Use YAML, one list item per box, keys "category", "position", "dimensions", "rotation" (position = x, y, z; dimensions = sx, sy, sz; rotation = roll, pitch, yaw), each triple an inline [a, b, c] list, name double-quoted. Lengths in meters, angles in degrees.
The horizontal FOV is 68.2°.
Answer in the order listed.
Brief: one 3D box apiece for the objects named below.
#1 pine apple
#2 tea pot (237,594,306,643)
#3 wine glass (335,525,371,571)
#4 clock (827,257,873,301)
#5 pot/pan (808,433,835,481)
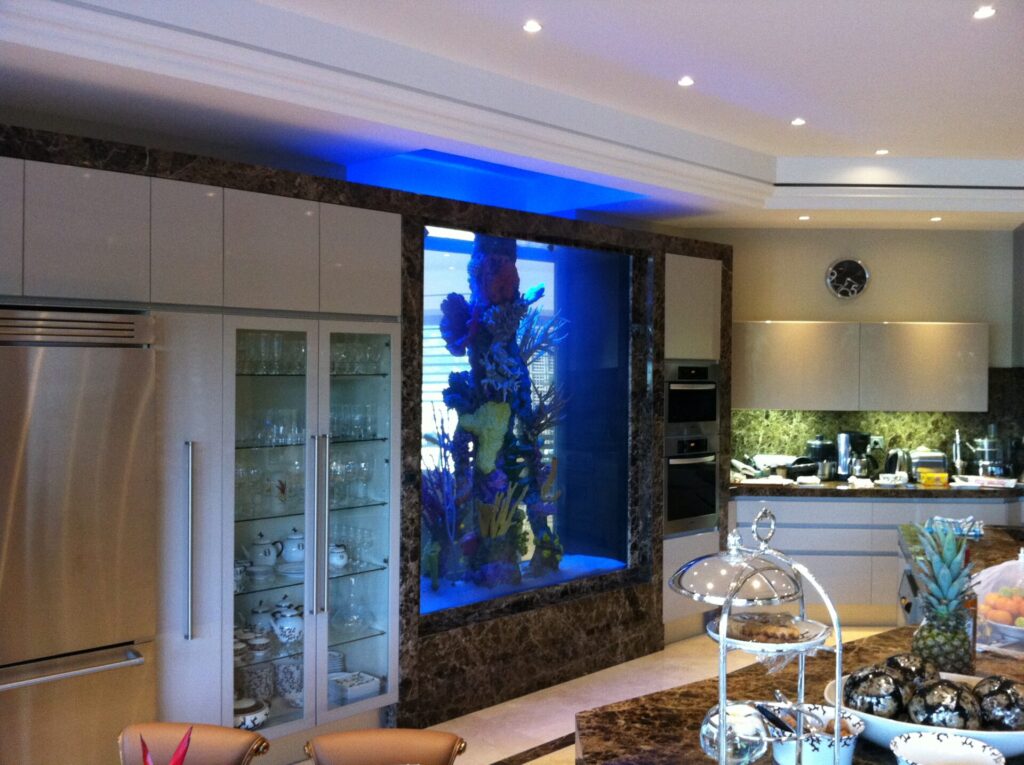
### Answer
- category: "pine apple"
  position: [1.615, 0.790, 2.859]
  dimensions: [0.242, 0.592, 0.272]
  rotation: [3, 3, 18]
- category: "tea pot"
  position: [-1.290, 1.245, 4.024]
  dimensions: [0.286, 0.219, 0.187]
  rotation: [-3, -5, 33]
- category: "wine glass"
  position: [-0.915, 0.926, 4.277]
  dimensions: [0.155, 0.197, 0.289]
  rotation: [-2, -3, 29]
- category: "clock"
  position: [3.064, -0.959, 6.910]
  dimensions: [0.351, 0.343, 0.083]
  rotation: [1, 5, -5]
- category: "pot/pan"
  position: [2.798, 0.689, 6.798]
  dimensions: [0.241, 0.358, 0.353]
  rotation: [-4, -9, 35]
